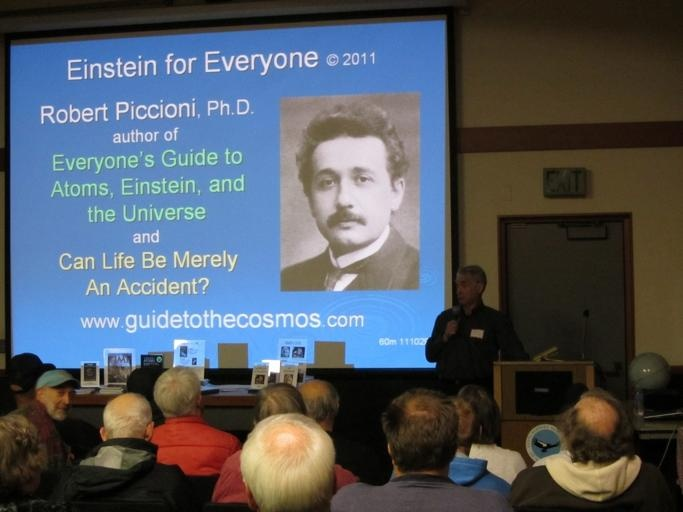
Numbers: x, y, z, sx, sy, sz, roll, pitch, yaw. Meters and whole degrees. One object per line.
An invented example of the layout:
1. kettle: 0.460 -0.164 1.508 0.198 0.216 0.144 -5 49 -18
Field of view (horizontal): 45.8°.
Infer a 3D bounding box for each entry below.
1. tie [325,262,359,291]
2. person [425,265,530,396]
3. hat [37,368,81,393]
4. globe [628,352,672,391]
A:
1. tie: 0.004 0.219 7.633 0.281 0.205 0.122 -26 -13 13
2. person: 1.122 0.654 6.892 0.859 1.559 0.473 -6 -18 31
3. hat: -2.084 0.907 5.889 0.215 0.113 0.162 -15 -14 26
4. globe: 2.437 0.895 6.428 0.248 0.281 0.251 -5 4 -29
